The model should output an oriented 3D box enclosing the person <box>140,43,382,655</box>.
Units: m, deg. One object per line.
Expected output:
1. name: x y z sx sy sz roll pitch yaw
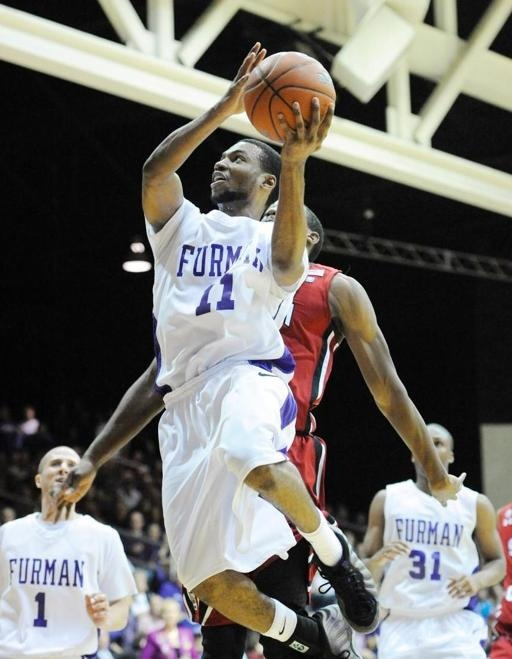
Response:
1. person: -0.028 0.074 3.056 0.824 2.158 0.817 -1 -11 26
